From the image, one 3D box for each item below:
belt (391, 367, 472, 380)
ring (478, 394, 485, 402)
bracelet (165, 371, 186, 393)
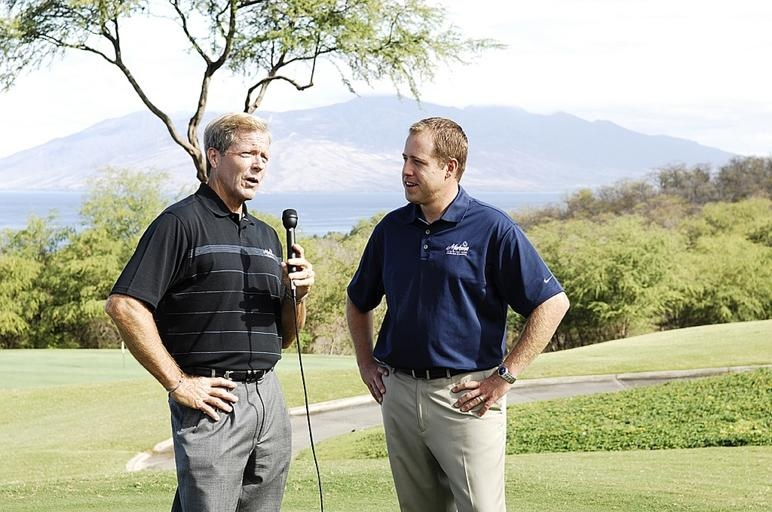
[{"bbox_3d":[0.678,1.858,13.023,1.201,0.155,0.119,-2,-1,7],"label":"belt"},{"bbox_3d":[1.492,2.229,12.902,0.095,0.102,0.026,-2,0,6],"label":"ring"},{"bbox_3d":[-3.171,1.935,12.472,0.282,0.072,0.266,-35,14,48],"label":"bracelet"}]
